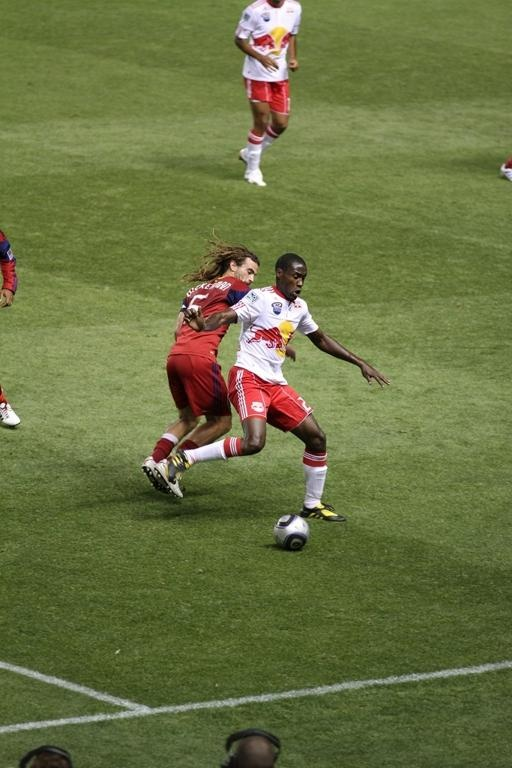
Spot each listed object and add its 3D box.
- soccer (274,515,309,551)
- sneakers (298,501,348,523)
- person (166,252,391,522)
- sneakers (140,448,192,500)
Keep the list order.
[{"bbox_3d":[0.195,0.848,6.985,0.192,0.215,0.197,4,19,1],"label":"soccer"},{"bbox_3d":[0.396,0.791,7.449,0.314,0.110,0.104,3,-2,0],"label":"sneakers"},{"bbox_3d":[0.034,0.025,7.384,1.040,1.566,0.607,2,20,-4],"label":"person"},{"bbox_3d":[-0.541,0.548,7.425,0.222,0.422,0.143,-51,42,-8],"label":"sneakers"}]
